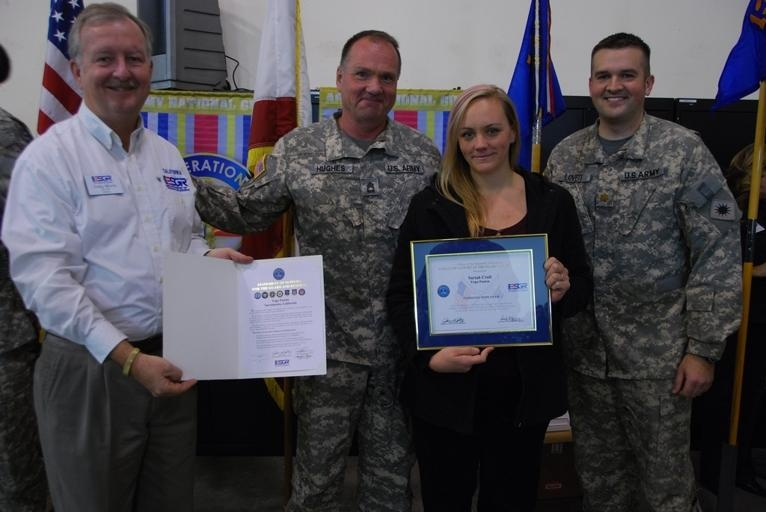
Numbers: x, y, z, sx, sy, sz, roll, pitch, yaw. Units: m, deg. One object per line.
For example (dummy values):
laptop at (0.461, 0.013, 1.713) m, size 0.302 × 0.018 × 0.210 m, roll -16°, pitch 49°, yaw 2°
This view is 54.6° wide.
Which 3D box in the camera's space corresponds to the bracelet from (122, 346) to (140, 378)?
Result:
bracelet at (-1.062, 0.444, 3.156) m, size 0.075 × 0.110 × 0.036 m, roll -6°, pitch 10°, yaw -27°
